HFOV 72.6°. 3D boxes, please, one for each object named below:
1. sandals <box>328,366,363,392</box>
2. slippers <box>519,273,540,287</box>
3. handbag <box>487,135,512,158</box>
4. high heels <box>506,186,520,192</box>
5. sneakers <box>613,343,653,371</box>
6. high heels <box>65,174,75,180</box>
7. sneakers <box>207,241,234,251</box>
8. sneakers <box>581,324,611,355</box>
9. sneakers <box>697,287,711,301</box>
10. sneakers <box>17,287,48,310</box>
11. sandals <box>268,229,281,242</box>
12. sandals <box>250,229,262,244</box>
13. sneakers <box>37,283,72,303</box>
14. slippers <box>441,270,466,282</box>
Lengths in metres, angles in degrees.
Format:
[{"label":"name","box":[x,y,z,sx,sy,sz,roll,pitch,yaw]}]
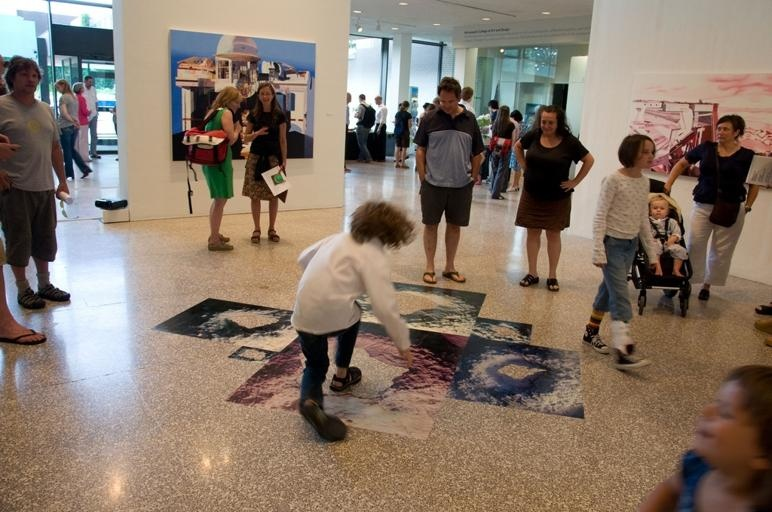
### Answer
[{"label":"sandals","box":[-0.287,0.876,3.828,0.115,0.103,0.249,10,19,30]},{"label":"slippers","box":[1.581,0.270,5.798,0.260,0.098,0.099,-4,16,-43]},{"label":"handbag","box":[2.250,-2.158,10.302,0.456,0.446,0.204,15,63,18]},{"label":"high heels","box":[2.923,-1.499,12.032,0.468,0.176,0.157,-1,6,-41]},{"label":"sneakers","box":[1.916,0.793,4.144,0.336,0.219,0.131,-4,7,40]},{"label":"high heels","box":[-6.207,-1.537,10.369,0.101,0.113,0.300,-2,1,-37]},{"label":"sneakers","box":[-1.987,-0.128,6.386,0.319,0.122,0.115,-3,15,-20]},{"label":"sneakers","box":[1.772,0.705,4.481,0.116,0.191,0.316,-11,19,-29]},{"label":"sneakers","box":[3.440,0.421,5.717,0.081,0.061,0.234,-3,9,36]},{"label":"sneakers","box":[-3.113,0.378,4.675,0.335,0.138,0.125,8,15,22]},{"label":"sandals","box":[-1.453,-0.253,6.845,0.088,0.090,0.252,-6,12,-25]},{"label":"sandals","box":[-1.674,-0.244,6.808,0.156,0.119,0.448,-3,8,-16]},{"label":"sneakers","box":[-3.001,0.341,4.828,0.357,0.146,0.135,8,13,-7]},{"label":"slippers","box":[0.773,0.235,5.861,0.117,0.065,0.206,-13,20,-42]}]
